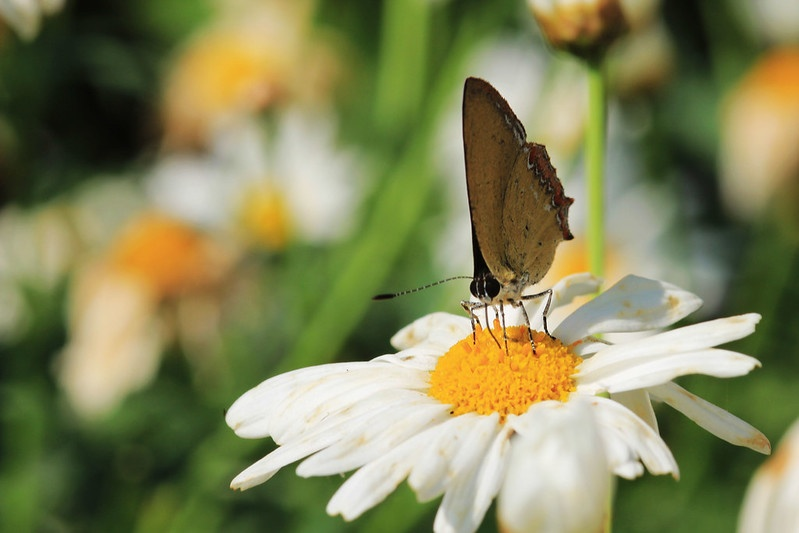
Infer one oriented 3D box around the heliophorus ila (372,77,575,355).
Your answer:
[{"bbox_3d":[0.100,-0.071,1.122,0.241,0.269,0.374,-19,105,1],"label":"heliophorus ila"}]
